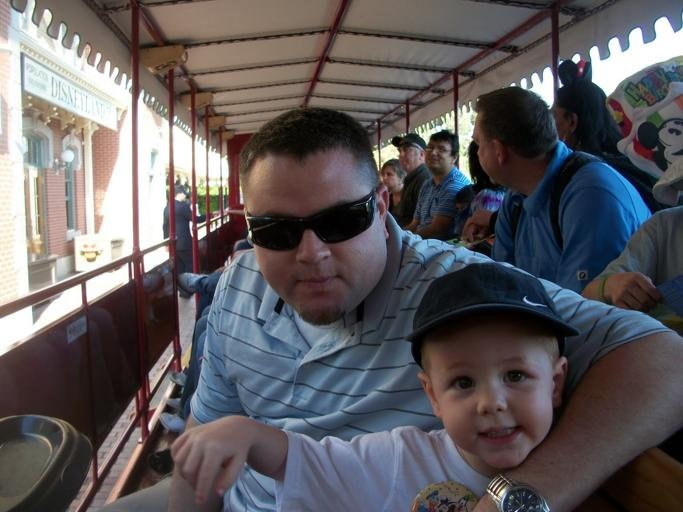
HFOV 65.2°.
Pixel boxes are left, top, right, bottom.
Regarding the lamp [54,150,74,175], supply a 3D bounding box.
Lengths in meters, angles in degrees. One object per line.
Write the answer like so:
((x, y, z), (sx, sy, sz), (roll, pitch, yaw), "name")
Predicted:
((-6.908, -2.304, 13.320), (0.433, 0.610, 1.362), (-6, 10, -22), "lamp")

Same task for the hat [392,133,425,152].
((0.976, -1.600, 7.634), (0.423, 0.233, 0.274), (30, -7, -33), "hat")
